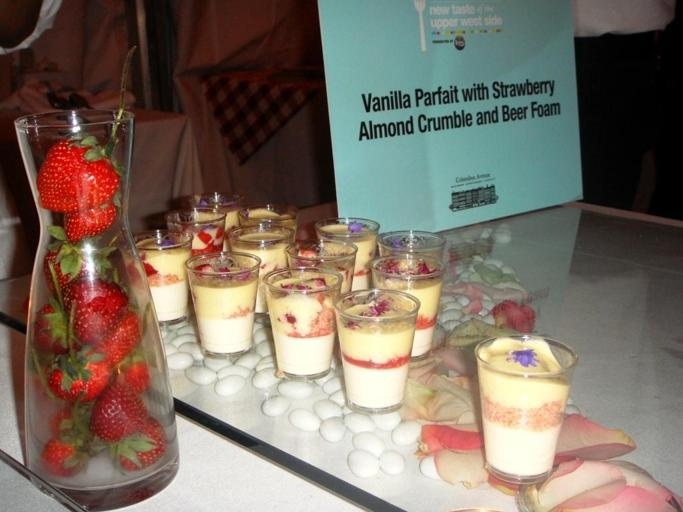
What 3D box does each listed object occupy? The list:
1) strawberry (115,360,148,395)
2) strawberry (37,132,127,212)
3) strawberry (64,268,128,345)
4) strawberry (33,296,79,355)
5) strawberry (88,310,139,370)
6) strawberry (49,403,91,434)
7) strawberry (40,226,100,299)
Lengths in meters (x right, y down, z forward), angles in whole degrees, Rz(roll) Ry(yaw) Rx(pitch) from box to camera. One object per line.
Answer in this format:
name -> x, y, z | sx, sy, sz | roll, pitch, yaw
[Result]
strawberry -> -0.257, 0.147, 0.666 | 0.037, 0.042, 0.036 | -20, 4, -19
strawberry -> -0.306, -0.093, 0.613 | 0.083, 0.079, 0.029 | -3, 22, -3
strawberry -> -0.285, 0.063, 0.667 | 0.067, 0.072, 0.073 | 5, 66, 21
strawberry -> -0.340, 0.084, 0.631 | 0.046, 0.046, 0.055 | -39, 9, -13
strawberry -> -0.271, 0.102, 0.649 | 0.045, 0.038, 0.061 | -14, 47, 56
strawberry -> -0.330, 0.197, 0.644 | 0.025, 0.042, 0.023 | 23, 7, -1
strawberry -> -0.331, 0.008, 0.681 | 0.070, 0.086, 0.078 | -3, 5, 2
